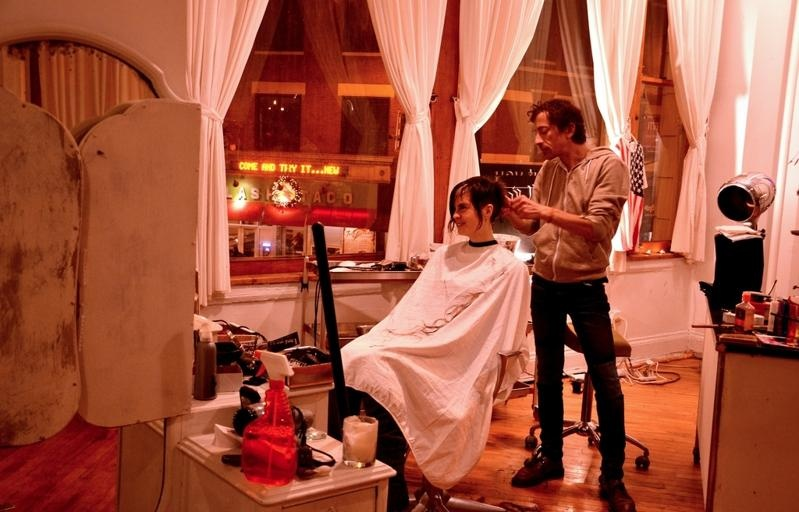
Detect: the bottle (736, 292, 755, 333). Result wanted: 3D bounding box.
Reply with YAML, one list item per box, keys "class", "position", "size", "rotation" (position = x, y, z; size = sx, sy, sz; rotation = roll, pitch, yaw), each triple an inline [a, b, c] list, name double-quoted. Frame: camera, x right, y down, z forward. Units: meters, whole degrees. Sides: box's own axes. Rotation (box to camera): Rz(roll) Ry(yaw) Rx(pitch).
- class: "bottle"
  position: [1.708, 0.287, 3.062]
  size: [0.098, 0.202, 0.101]
  rotation: [-2, 11, 0]

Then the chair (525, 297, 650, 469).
- class: "chair"
  position: [1.200, 0.807, 3.966]
  size: [0.654, 0.876, 0.620]
  rotation: [-6, -29, 35]

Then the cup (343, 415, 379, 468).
- class: "cup"
  position: [-0.146, 0.717, 2.383]
  size: [0.139, 0.158, 0.141]
  rotation: [3, -7, 0]
